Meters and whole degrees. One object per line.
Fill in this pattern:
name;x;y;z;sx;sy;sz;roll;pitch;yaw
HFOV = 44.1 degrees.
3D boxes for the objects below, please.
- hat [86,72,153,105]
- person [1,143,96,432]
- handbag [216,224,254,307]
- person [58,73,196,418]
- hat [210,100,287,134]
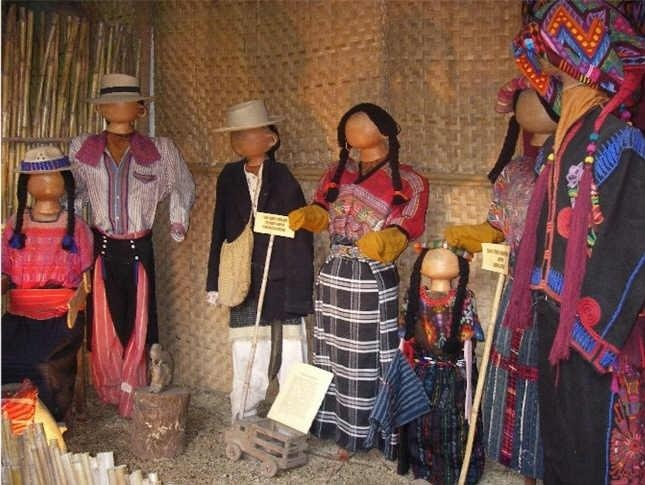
hat;-1.311;-0.975;5.116;0.435;0.224;0.506;-6;3;-23
person;-1.678;0.250;4.813;0.537;1.615;0.423;-2;11;-16
handbag;-0.539;0.139;4.848;0.220;0.527;0.165;2;11;2
person;-1.292;0.092;5.201;0.777;2.335;0.654;1;23;-11
hat;-0.437;-0.762;4.825;0.364;0.193;0.184;0;12;-6
